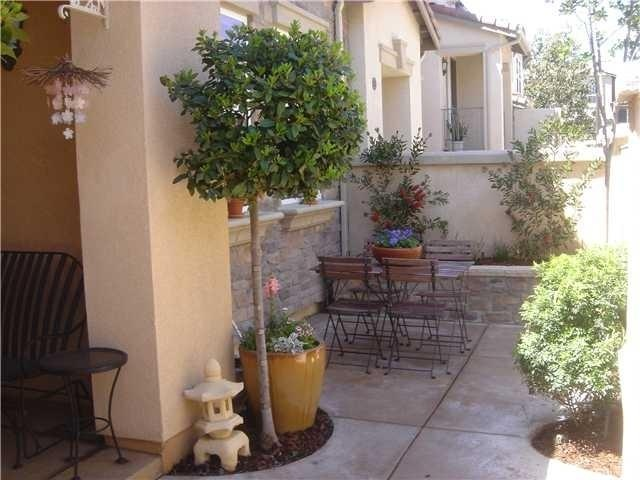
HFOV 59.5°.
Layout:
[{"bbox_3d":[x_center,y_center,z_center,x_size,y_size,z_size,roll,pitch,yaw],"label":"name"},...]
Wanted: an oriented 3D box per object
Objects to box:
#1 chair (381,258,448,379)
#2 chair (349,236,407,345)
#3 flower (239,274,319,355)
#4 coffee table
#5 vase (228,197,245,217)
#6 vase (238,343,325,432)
[{"bbox_3d":[1.145,0.729,6.738,0.724,1.162,2.297,-1,4,9],"label":"chair"},{"bbox_3d":[0.755,0.696,7.221,0.885,1.455,1.041,2,15,20],"label":"chair"},{"bbox_3d":[-0.445,0.709,5.515,0.745,0.758,0.441,-2,4,12],"label":"flower"},{"bbox_3d":[-1.678,1.240,3.959,0.576,0.786,0.592,9,15,34],"label":"coffee table"},{"bbox_3d":[-0.869,-0.339,5.712,0.230,0.191,0.236,-1,-2,-11],"label":"vase"},{"bbox_3d":[-0.297,1.178,4.669,0.745,0.684,0.698,2,8,27],"label":"vase"}]
